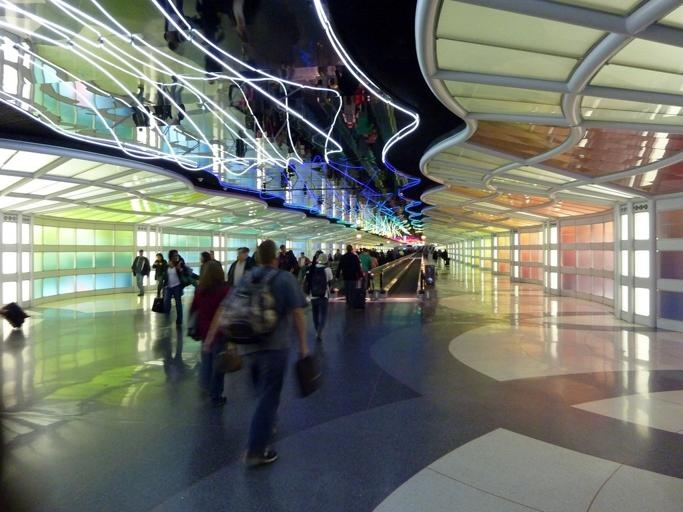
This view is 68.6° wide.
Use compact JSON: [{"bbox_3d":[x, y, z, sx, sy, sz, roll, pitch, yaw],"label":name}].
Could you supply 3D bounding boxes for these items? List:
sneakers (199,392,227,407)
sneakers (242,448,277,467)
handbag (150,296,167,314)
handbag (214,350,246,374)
[{"bbox_3d":[-2.008,2.216,7.803,0.507,0.189,0.172,11,-8,-14],"label":"sneakers"},{"bbox_3d":[-1.019,2.486,6.291,0.420,0.157,0.155,-5,18,-26],"label":"sneakers"},{"bbox_3d":[-5.549,1.459,15.121,0.684,0.568,0.351,5,-11,-16],"label":"handbag"},{"bbox_3d":[-1.551,1.441,6.935,0.334,0.228,0.333,-1,-3,10],"label":"handbag"}]
